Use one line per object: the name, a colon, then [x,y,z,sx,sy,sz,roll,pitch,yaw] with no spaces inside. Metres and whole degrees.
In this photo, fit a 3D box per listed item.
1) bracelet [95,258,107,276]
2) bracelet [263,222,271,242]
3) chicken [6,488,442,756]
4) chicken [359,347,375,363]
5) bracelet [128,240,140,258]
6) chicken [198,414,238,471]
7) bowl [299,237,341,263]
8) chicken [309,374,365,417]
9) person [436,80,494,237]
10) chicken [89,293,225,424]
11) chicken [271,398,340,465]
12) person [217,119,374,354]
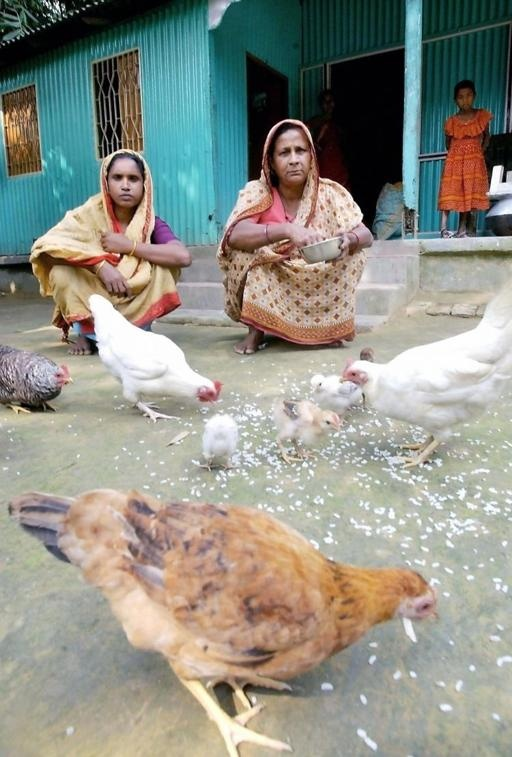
bracelet: [-1.187,-0.859,4.535,0.040,0.099,0.090,36,-4,-6]
bracelet: [0.083,-1.104,4.443,0.026,0.099,0.084,4,6,-2]
chicken: [-0.034,0.408,1.221,0.836,0.411,0.278,-7,15,-18]
chicken: [0.697,-0.156,3.806,0.078,0.112,0.152,1,15,8]
bracelet: [-0.963,-1.019,4.666,0.084,0.103,0.045,6,0,-1]
chicken: [-0.165,0.263,2.524,0.153,0.251,0.285,-4,14,-5]
bowl: [0.422,-0.823,3.918,0.210,0.093,0.198,-16,22,7]
chicken: [0.415,0.050,3.104,0.287,0.258,0.195,11,28,28]
person: [2.597,-2.611,7.452,0.612,1.590,0.575,4,16,24]
chicken: [-0.598,-0.058,3.259,0.846,0.479,0.326,28,21,8]
chicken: [0.215,0.237,2.639,0.205,0.271,0.276,-8,15,-18]
person: [0.282,-1.104,4.661,1.207,1.690,0.797,-3,15,1]
